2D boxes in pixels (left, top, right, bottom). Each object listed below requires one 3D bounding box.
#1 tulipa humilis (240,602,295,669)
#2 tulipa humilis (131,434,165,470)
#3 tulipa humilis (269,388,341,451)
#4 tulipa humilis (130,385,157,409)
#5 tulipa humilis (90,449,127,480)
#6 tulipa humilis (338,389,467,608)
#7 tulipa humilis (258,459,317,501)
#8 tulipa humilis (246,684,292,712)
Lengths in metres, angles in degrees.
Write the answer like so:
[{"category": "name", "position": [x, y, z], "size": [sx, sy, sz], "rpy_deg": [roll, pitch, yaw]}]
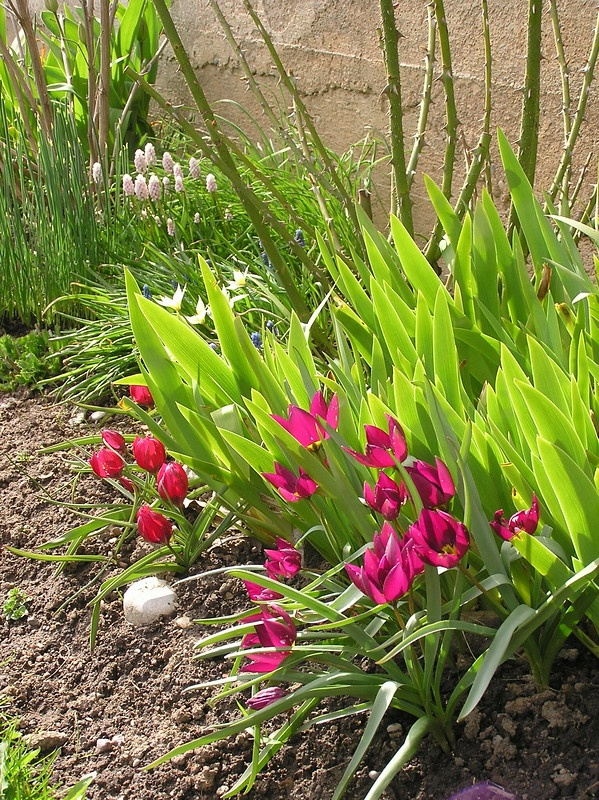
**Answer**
[{"category": "tulipa humilis", "position": [-0.005, 0.245, 0.793], "size": [0.057, 0.035, 0.061], "rpy_deg": [-9, 3, 21]}, {"category": "tulipa humilis", "position": [-0.262, 0.091, 1.242], "size": [0.039, 0.067, 0.037], "rpy_deg": [-40, 43, -23]}, {"category": "tulipa humilis", "position": [0.012, 0.018, 0.910], "size": [0.059, 0.086, 0.099], "rpy_deg": [-6, 12, -9]}, {"category": "tulipa humilis", "position": [-0.296, -0.006, 1.348], "size": [0.029, 0.036, 0.035], "rpy_deg": [-33, 6, 5]}, {"category": "tulipa humilis", "position": [-0.344, 0.117, 1.298], "size": [0.043, 0.058, 0.051], "rpy_deg": [-39, 38, 6]}, {"category": "tulipa humilis", "position": [0.099, 0.111, 0.708], "size": [0.098, 0.223, 0.113], "rpy_deg": [15, 23, 42]}, {"category": "tulipa humilis", "position": [-0.015, 0.081, 0.853], "size": [0.053, 0.054, 0.057], "rpy_deg": [-5, 13, -19]}, {"category": "tulipa humilis", "position": [-0.037, 0.324, 0.781], "size": [0.037, 0.028, 0.011], "rpy_deg": [-21, 34, -2]}]
